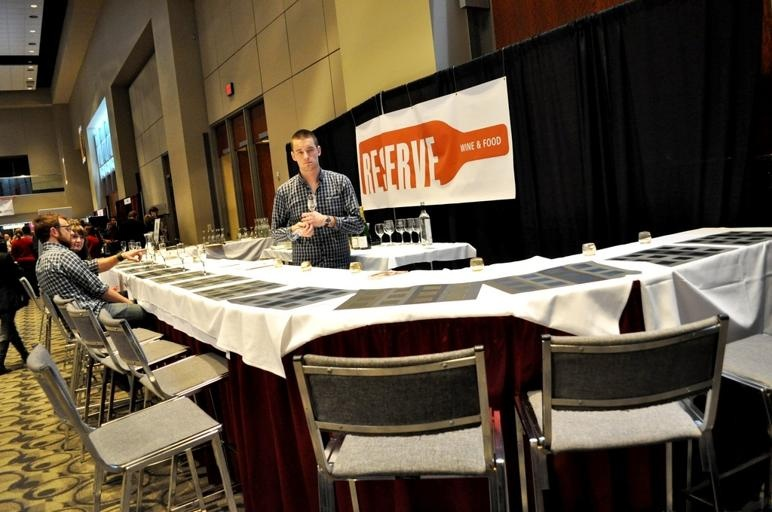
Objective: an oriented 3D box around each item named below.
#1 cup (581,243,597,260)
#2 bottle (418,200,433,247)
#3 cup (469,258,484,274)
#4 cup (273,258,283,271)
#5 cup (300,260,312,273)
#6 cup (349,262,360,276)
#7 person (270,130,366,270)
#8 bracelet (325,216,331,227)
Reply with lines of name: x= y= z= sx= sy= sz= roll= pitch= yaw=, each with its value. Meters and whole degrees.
cup: x=1.253 y=-0.033 z=3.473 sx=0.085 sy=0.068 sz=0.085 roll=-6 pitch=8 yaw=1
bottle: x=0.358 y=-0.251 z=5.165 sx=0.098 sy=0.297 sz=0.265 roll=-5 pitch=7 yaw=3
cup: x=0.557 y=0.066 z=3.475 sx=0.075 sy=0.086 sz=0.084 roll=-1 pitch=9 yaw=28
cup: x=-0.848 y=0.067 z=4.425 sx=0.061 sy=0.066 sz=0.065 roll=0 pitch=14 yaw=0
cup: x=-0.593 y=0.084 z=4.137 sx=0.066 sy=0.074 sz=0.071 roll=0 pitch=17 yaw=0
cup: x=-0.212 y=0.093 z=3.817 sx=0.071 sy=0.076 sz=0.073 roll=-2 pitch=2 yaw=0
person: x=-0.538 y=-0.403 z=4.328 sx=0.722 sy=1.110 sz=0.657 roll=-7 pitch=7 yaw=-12
bracelet: x=-0.431 y=-0.247 z=4.158 sx=0.034 sy=0.066 sz=0.061 roll=1 pitch=13 yaw=-33
